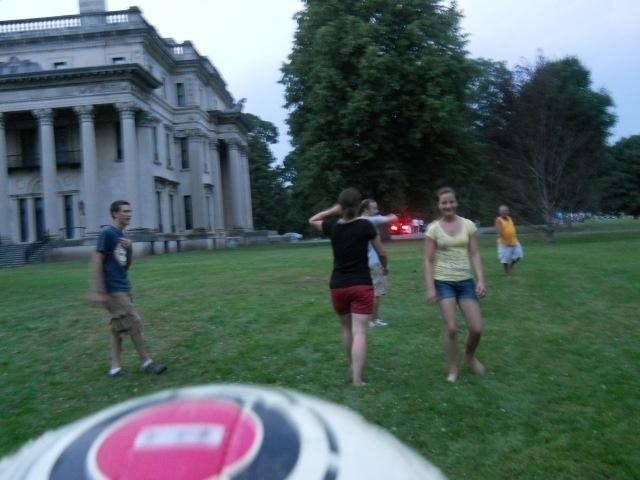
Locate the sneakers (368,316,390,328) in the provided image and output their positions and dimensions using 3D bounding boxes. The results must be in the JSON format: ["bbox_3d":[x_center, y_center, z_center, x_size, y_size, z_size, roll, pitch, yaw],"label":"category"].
[{"bbox_3d":[1.049,1.476,7.987,0.383,0.173,0.129,-4,-1,20],"label":"sneakers"}]

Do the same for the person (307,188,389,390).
[{"bbox_3d":[0.384,0.537,5.287,0.640,2.228,0.532,-2,5,6],"label":"person"}]

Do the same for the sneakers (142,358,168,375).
[{"bbox_3d":[-2.191,1.643,5.867,0.319,0.139,0.170,3,25,28],"label":"sneakers"}]

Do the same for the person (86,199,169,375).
[{"bbox_3d":[-2.550,0.632,5.773,0.649,2.248,0.512,-5,5,-28],"label":"person"}]

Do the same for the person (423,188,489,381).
[{"bbox_3d":[1.604,0.509,5.378,0.665,2.273,0.644,-1,5,19],"label":"person"}]

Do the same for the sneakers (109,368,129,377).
[{"bbox_3d":[-2.660,1.716,5.863,0.256,0.103,0.091,-2,3,-9],"label":"sneakers"}]
